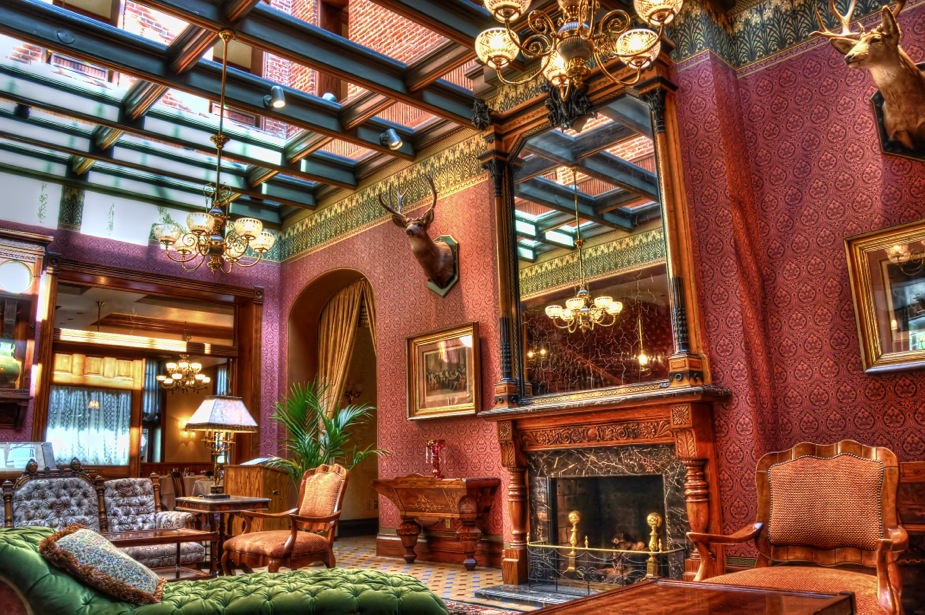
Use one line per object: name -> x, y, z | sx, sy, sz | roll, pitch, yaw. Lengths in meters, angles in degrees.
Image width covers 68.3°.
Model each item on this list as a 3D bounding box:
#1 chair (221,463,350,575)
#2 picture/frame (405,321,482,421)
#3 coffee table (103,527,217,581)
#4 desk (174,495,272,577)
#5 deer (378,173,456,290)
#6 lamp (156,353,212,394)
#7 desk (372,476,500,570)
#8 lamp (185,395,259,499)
chair -> -1.638, 2.089, 6.439 | 1.025, 1.148, 0.923 | 7, -14, -32
picture/frame -> -0.203, 0.817, 8.405 | 0.131, 0.971, 1.171 | 13, -19, -40
coffee table -> -2.830, 2.148, 6.335 | 0.891, 0.522, 0.877 | 5, -15, -28
desk -> -2.230, 2.470, 7.349 | 1.047, 0.723, 1.044 | 2, -17, -9
deer -> -0.516, -0.832, 8.436 | 0.929, 1.308, 0.798 | 1, -6, -19
lamp -> -5.620, 1.380, 13.731 | 0.999, 0.710, 0.992 | 19, -27, -36
desk -> -0.307, 2.485, 7.965 | 0.615, 0.985, 1.565 | 12, -20, -42
lamp -> -2.467, 1.445, 6.947 | 0.677, 0.946, 0.692 | 11, -18, -34
